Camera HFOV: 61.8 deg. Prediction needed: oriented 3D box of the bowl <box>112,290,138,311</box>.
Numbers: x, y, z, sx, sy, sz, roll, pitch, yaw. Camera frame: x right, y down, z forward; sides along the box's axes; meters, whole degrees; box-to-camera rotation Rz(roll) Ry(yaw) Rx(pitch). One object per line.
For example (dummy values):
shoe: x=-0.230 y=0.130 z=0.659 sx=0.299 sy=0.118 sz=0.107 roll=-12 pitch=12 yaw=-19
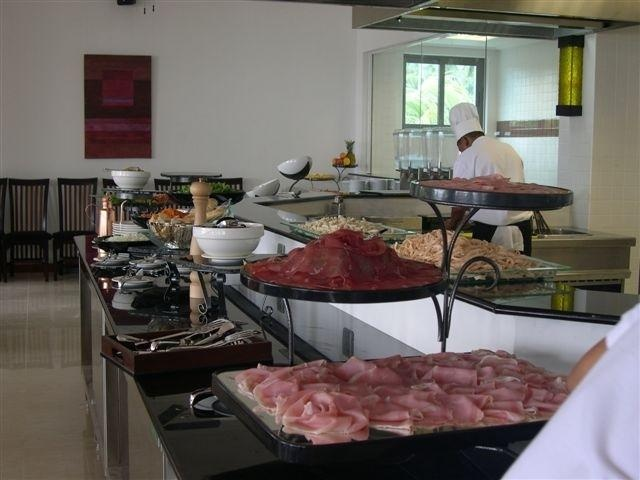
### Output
bowl: x=-0.734 y=0.227 z=2.020 sx=0.079 sy=0.034 sz=0.067 roll=2 pitch=6 yaw=7

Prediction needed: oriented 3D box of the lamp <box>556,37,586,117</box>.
lamp: x=1.896 y=-1.234 z=4.079 sx=0.197 sy=0.581 sz=0.409 roll=-2 pitch=15 yaw=23

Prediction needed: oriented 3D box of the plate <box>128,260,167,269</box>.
plate: x=-0.813 y=0.112 z=2.534 sx=0.126 sy=0.035 sz=0.158 roll=-11 pitch=13 yaw=-28

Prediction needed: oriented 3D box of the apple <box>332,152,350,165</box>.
apple: x=0.298 y=-1.086 z=7.163 sx=0.213 sy=0.098 sz=0.241 roll=1 pitch=10 yaw=6

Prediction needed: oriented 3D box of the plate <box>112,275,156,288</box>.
plate: x=-0.762 y=0.178 z=2.222 sx=0.156 sy=0.045 sz=0.126 roll=-8 pitch=12 yaw=-17

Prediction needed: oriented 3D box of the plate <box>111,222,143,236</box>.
plate: x=-1.120 y=-0.081 z=3.145 sx=0.152 sy=0.045 sz=0.128 roll=1 pitch=5 yaw=4

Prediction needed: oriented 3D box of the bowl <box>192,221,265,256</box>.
bowl: x=-0.285 y=-0.002 z=1.708 sx=0.231 sy=0.074 sz=0.195 roll=-1 pitch=8 yaw=-8
